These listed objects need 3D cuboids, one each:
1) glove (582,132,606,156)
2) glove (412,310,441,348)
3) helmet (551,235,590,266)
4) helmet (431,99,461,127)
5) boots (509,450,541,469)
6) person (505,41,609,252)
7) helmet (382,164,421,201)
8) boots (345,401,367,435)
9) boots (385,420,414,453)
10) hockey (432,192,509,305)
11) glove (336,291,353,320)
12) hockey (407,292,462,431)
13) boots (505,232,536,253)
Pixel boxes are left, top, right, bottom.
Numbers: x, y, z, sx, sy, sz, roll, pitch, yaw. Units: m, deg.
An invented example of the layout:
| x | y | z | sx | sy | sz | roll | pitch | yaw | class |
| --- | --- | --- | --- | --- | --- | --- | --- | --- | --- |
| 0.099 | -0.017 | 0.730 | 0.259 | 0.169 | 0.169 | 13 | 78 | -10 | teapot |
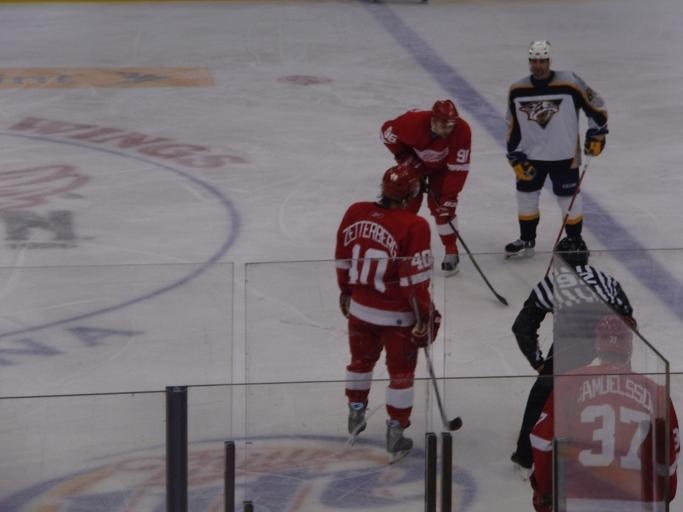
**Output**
| x | y | z | sx | sy | sz | roll | pitch | yaw | class |
| --- | --- | --- | --- | --- | --- | --- | --- | --- | --- |
| 1.739 | -0.754 | 10.910 | 0.146 | 0.149 | 0.164 | 6 | 14 | 10 | glove |
| 0.484 | 0.434 | 9.159 | 0.194 | 0.199 | 0.101 | 0 | -4 | 21 | glove |
| 1.418 | -0.035 | 9.774 | 0.235 | 0.194 | 0.246 | -2 | 7 | -1 | helmet |
| 0.679 | -0.927 | 10.466 | 0.169 | 0.158 | 0.174 | -1 | 48 | -7 | helmet |
| 1.031 | 1.136 | 8.882 | 0.126 | 0.097 | 0.091 | 27 | 10 | 12 | boots |
| 1.456 | -0.744 | 10.809 | 0.700 | 1.398 | 1.054 | -1 | 14 | 8 | person |
| 0.357 | -0.432 | 9.497 | 0.221 | 0.193 | 0.232 | 5 | 13 | 7 | helmet |
| 0.080 | 0.911 | 8.889 | 0.088 | 0.185 | 0.092 | 1 | -19 | 3 | boots |
| 0.324 | 1.022 | 8.978 | 0.116 | 0.182 | 0.228 | 2 | 2 | 29 | boots |
| 0.820 | -0.024 | 10.211 | 0.117 | 0.893 | 0.074 | -25 | 22 | 26 | hockey |
| 0.004 | 0.282 | 9.193 | 0.120 | 0.124 | 0.048 | 0 | -7 | 3 | glove |
| 0.543 | 0.612 | 9.021 | 0.140 | 0.659 | 0.564 | -6 | 14 | -9 | hockey |
| 1.203 | -0.087 | 10.671 | 0.280 | 0.100 | 0.106 | -9 | 20 | -22 | boots |
